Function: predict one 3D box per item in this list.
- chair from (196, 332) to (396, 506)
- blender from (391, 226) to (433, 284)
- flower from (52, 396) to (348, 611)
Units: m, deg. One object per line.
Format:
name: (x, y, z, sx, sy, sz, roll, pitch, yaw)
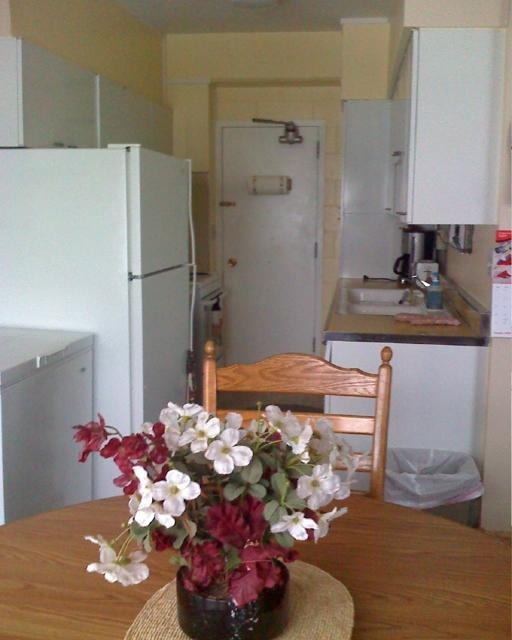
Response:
chair: (0.159, 0.205, 1.375, 0.358, 0.577, 0.381, 0, -3, 14)
blender: (1.054, -0.439, 3.711, 0.274, 0.370, 0.278, -5, -1, 7)
flower: (-0.023, 0.185, 0.608, 0.240, 0.193, 0.255, 3, 4, 36)
